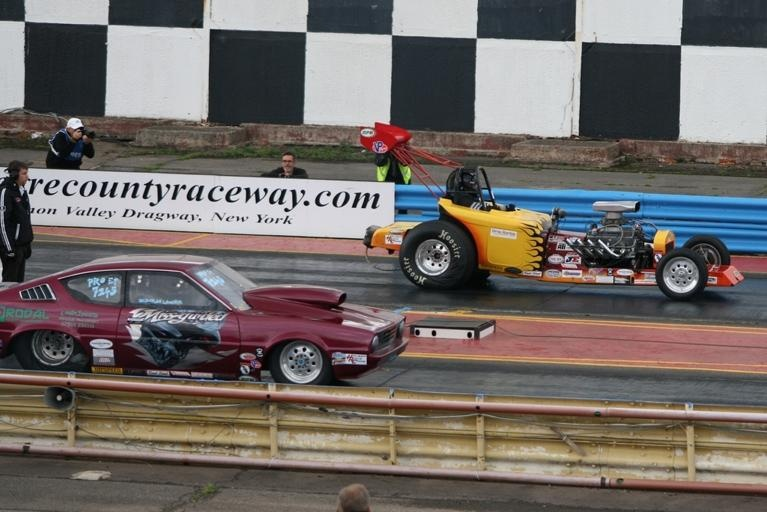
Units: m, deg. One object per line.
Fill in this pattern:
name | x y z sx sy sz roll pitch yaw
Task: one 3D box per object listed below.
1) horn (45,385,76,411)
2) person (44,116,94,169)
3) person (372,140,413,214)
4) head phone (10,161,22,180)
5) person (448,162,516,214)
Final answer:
horn | -7.083 3.080 40.175 0.677 0.508 0.567 -1 7 2
person | -8.681 -3.046 50.878 1.110 1.395 1.478 -3 6 -22
person | 0.165 -2.200 50.787 1.509 1.760 0.736 1 -8 6
head phone | -8.932 -2.039 44.552 0.396 0.446 0.236 -1 6 -10
person | 2.445 -1.577 46.920 1.744 1.355 1.113 6 -7 19
